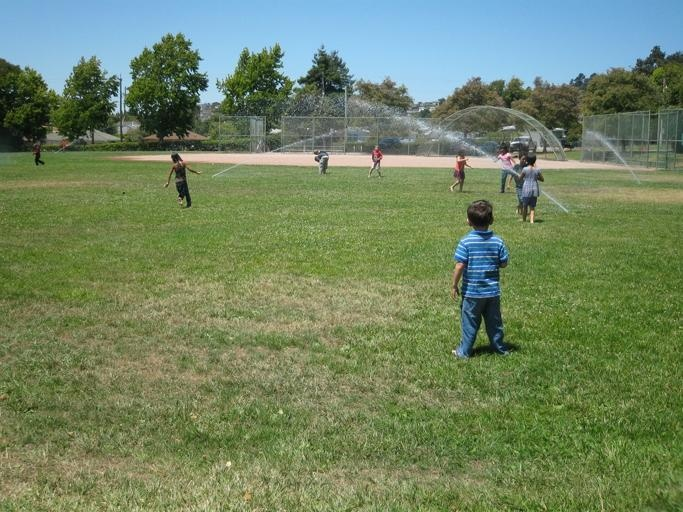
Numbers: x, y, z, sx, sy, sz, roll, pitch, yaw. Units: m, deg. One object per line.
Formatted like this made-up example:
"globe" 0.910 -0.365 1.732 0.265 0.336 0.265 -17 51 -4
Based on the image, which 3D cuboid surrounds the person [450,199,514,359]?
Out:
"person" 1.720 0.284 9.025 0.750 1.935 0.459 -2 10 -10
